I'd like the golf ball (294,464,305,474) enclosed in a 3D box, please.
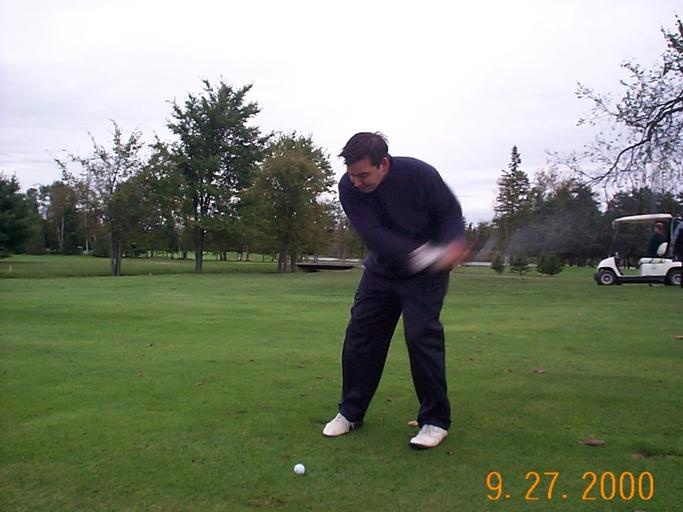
[{"bbox_3d":[-0.285,1.460,3.767,0.084,0.043,0.090,0,4,0],"label":"golf ball"}]

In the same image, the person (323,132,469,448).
[{"bbox_3d":[0.463,0.229,4.433,1.076,2.401,0.626,1,4,11],"label":"person"}]

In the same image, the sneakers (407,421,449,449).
[{"bbox_3d":[0.675,1.379,4.199,0.140,0.138,0.319,3,5,39],"label":"sneakers"}]

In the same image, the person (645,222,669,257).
[{"bbox_3d":[11.369,-0.597,19.601,0.584,1.307,2.176,2,4,31],"label":"person"}]

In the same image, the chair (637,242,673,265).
[{"bbox_3d":[11.104,-0.040,19.303,0.585,0.911,0.813,1,1,-41],"label":"chair"}]
